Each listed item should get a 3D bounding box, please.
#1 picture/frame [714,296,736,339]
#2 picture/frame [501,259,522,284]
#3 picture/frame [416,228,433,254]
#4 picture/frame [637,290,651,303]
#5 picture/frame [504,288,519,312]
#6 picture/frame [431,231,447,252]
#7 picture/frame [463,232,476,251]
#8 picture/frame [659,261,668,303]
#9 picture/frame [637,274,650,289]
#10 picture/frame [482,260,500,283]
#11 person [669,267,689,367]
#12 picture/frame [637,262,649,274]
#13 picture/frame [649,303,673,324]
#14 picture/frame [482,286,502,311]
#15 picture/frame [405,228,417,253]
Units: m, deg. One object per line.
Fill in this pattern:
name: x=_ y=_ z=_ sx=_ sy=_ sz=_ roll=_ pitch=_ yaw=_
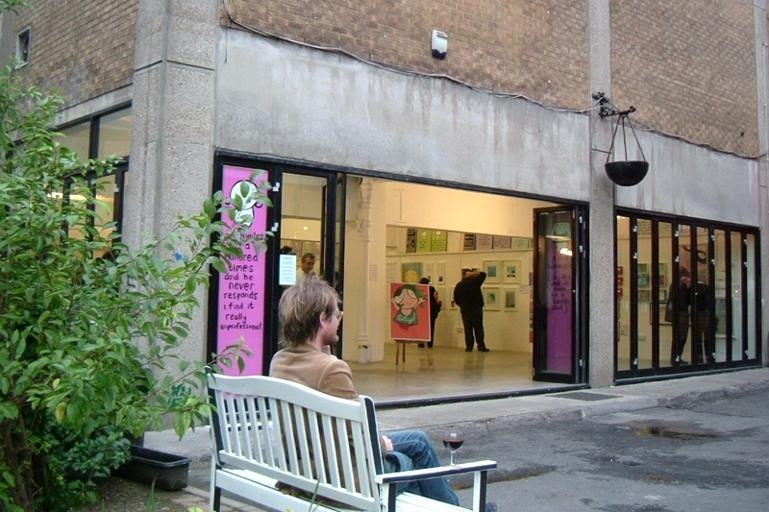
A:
picture/frame: x=7.786 y=1.394 z=15.570 sx=0.206 sy=0.845 sz=0.839 roll=-1 pitch=-5 yaw=44
picture/frame: x=3.843 y=0.468 z=20.276 sx=0.033 sy=0.820 sz=0.652 roll=2 pitch=-5 yaw=-39
picture/frame: x=1.365 y=-0.498 z=22.362 sx=0.097 sy=1.049 sz=0.716 roll=-1 pitch=2 yaw=-42
picture/frame: x=5.309 y=0.828 z=13.750 sx=0.202 sy=0.281 sz=0.384 roll=-1 pitch=0 yaw=25
picture/frame: x=3.822 y=1.324 z=20.209 sx=0.056 sy=0.930 sz=0.635 roll=4 pitch=-5 yaw=-39
picture/frame: x=1.820 y=-0.467 z=22.188 sx=0.100 sy=0.789 sz=0.614 roll=1 pitch=1 yaw=-37
picture/frame: x=2.655 y=-0.440 z=20.817 sx=0.325 sy=0.647 sz=0.433 roll=-4 pitch=6 yaw=-31
picture/frame: x=5.872 y=0.557 z=14.179 sx=0.098 sy=0.611 sz=0.387 roll=1 pitch=-1 yaw=42
picture/frame: x=5.293 y=0.525 z=13.754 sx=0.331 sy=0.200 sz=0.019 roll=2 pitch=-1 yaw=-29
picture/frame: x=3.294 y=0.477 z=20.635 sx=0.054 sy=0.805 sz=0.642 roll=-3 pitch=5 yaw=-40
person: x=6.381 y=1.281 z=14.560 sx=0.216 sy=1.461 sz=0.897 roll=1 pitch=-1 yaw=37
picture/frame: x=5.289 y=0.251 z=13.775 sx=0.205 sy=0.224 sz=0.215 roll=-2 pitch=2 yaw=-16
picture/frame: x=5.764 y=1.214 z=14.074 sx=0.369 sy=0.705 sz=0.692 roll=-1 pitch=-1 yaw=33
picture/frame: x=3.319 y=1.312 z=20.664 sx=0.064 sy=0.853 sz=0.695 roll=6 pitch=-7 yaw=-41
picture/frame: x=0.932 y=-0.507 z=22.931 sx=0.421 sy=0.700 sz=0.099 roll=2 pitch=-1 yaw=31
